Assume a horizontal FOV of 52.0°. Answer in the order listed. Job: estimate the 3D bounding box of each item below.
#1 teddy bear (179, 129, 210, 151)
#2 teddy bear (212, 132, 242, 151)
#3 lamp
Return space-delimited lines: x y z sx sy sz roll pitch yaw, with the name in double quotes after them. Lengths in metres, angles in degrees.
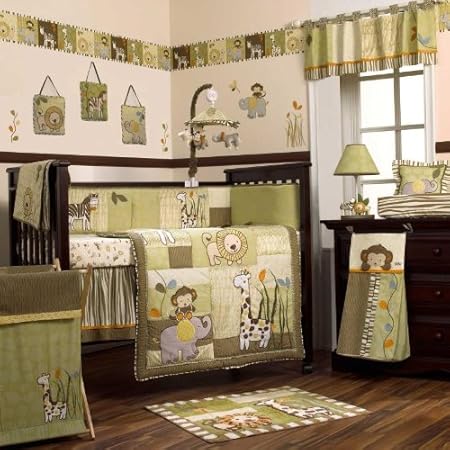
-0.202 -0.580 3.056 0.176 0.134 0.237 -2 4 0 "teddy bear"
0.010 -0.557 3.107 0.158 0.075 0.136 12 49 -2 "teddy bear"
0.772 -0.261 2.710 0.228 0.443 0.240 2 7 40 "lamp"
